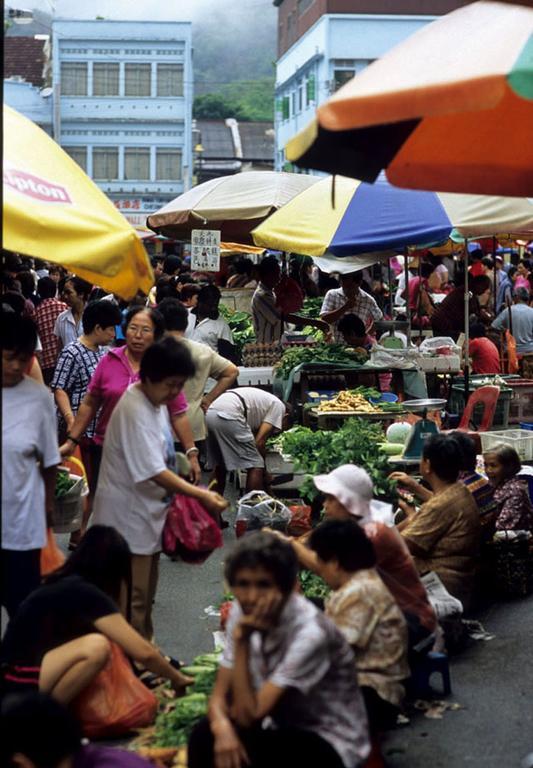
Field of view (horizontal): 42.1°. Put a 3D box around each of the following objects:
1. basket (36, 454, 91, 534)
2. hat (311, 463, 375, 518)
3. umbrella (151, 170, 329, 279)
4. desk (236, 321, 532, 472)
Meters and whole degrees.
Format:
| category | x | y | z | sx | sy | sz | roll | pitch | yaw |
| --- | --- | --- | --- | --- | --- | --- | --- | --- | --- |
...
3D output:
| category | x | y | z | sx | sy | sz | roll | pitch | yaw |
| --- | --- | --- | --- | --- | --- | --- | --- | --- | --- |
| basket | -1.165 | 0.667 | 4.153 | 0.324 | 0.495 | 0.391 | 8 | 12 | 2 |
| hat | 0.317 | 0.405 | 2.833 | 0.206 | 0.114 | 0.219 | 30 | 5 | -19 |
| umbrella | -0.453 | -2.319 | 10.372 | 2.213 | 1.682 | 2.317 | -6 | 18 | -41 |
| desk | 1.156 | 0.139 | 7.885 | 2.724 | 1.234 | 3.136 | 1 | 12 | -12 |
